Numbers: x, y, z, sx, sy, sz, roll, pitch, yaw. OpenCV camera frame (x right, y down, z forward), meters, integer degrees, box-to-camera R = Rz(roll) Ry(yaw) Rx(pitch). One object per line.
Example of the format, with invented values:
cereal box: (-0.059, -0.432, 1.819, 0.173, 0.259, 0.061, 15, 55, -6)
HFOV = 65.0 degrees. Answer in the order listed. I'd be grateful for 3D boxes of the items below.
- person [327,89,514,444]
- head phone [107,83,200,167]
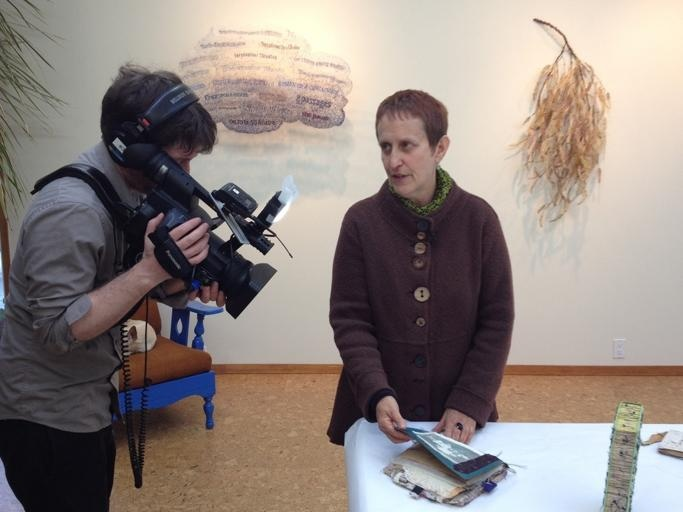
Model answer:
person: (0.258, 0.021, 1.630, 0.583, 1.031, 0.431, 0, 12, -2)
head phone: (-0.553, -0.380, 1.587, 0.246, 0.098, 0.197, -39, -1, 7)
